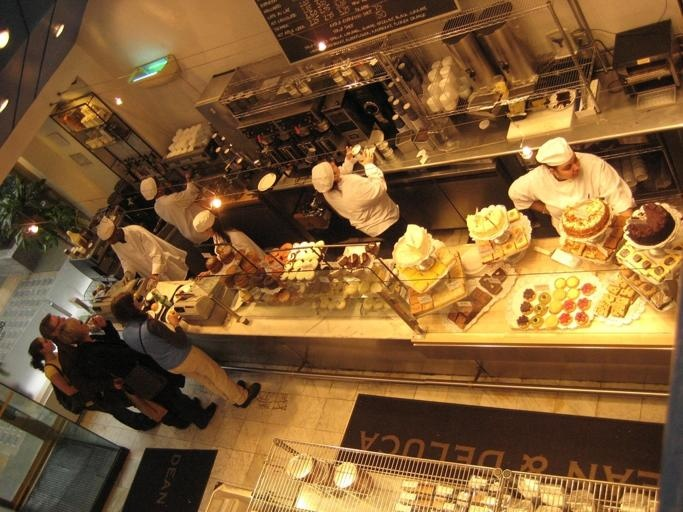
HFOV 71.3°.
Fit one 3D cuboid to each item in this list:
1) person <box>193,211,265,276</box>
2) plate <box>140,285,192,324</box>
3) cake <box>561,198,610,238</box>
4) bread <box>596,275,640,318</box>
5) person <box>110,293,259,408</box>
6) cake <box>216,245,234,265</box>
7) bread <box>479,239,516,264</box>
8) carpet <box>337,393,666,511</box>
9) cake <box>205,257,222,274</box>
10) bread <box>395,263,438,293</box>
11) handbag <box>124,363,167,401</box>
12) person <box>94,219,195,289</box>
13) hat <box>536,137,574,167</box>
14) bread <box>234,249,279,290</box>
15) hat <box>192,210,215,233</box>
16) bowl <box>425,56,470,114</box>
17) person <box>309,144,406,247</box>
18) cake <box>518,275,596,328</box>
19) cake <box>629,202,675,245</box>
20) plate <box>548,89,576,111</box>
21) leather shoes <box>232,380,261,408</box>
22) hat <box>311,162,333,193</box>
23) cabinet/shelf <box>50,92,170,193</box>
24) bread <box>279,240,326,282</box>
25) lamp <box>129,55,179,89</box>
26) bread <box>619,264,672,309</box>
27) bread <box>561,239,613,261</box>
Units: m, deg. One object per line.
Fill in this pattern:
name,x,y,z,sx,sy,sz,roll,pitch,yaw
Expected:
person,-1.259,-0.179,5.517,0.390,0.348,0.861,-24,-8,7
plate,-1.975,0.534,5.367,0.580,0.121,0.484,-4,39,18
cake,1.664,-0.247,3.233,0.269,0.127,0.291,-10,37,40
bread,1.799,0.261,3.074,0.216,0.081,0.284,48,120,35
person,-1.630,1.038,5.106,0.634,1.856,0.537,-20,36,26
cake,-1.167,-0.023,4.757,0.185,0.146,0.180,16,76,2
bread,1.146,-0.032,3.548,0.202,0.044,0.177,6,63,25
carpet,1.191,1.337,3.261,2.241,0.024,0.526,-1,60,33
cake,-1.370,0.100,5.018,0.162,0.194,0.178,6,80,4
bread,0.587,0.173,3.661,0.243,0.055,0.225,16,51,41
handbag,-2.112,1.386,5.243,0.333,0.473,0.161,-63,2,5
person,-2.619,-0.016,6.376,0.578,1.492,0.659,-12,63,36
hat,1.627,-0.778,3.621,0.211,0.201,0.194,-10,39,42
bread,-0.765,0.138,4.568,0.425,0.395,0.173,10,69,21
hat,-1.583,-0.382,5.535,0.229,0.089,0.269,5,76,18
bowl,1.027,-1.652,4.649,0.411,0.401,0.510,-14,36,38
person,0.366,-0.575,5.083,0.702,1.299,0.529,-41,28,0
cake,1.499,0.329,3.297,0.547,0.208,0.336,-15,34,33
cake,1.831,-0.184,2.825,0.253,0.159,0.232,-22,31,26
plate,1.942,-1.369,4.163,0.241,0.119,0.160,-22,31,24
leather shoes,-1.030,1.547,5.329,0.207,0.130,0.337,18,51,19
hat,-0.178,-0.793,4.844,0.244,0.083,0.285,12,101,25
cabinet/shelf,-3.163,-1.597,6.650,0.663,1.212,0.744,-45,29,-7
bread,-0.321,0.021,4.141,0.381,0.079,0.347,-9,55,36
lamp,-2.544,-2.501,6.547,0.717,0.299,0.328,-13,37,36
bread,1.915,0.205,3.000,0.303,0.065,0.201,44,107,17
bread,1.657,-0.037,3.219,0.247,0.066,0.138,14,57,29
